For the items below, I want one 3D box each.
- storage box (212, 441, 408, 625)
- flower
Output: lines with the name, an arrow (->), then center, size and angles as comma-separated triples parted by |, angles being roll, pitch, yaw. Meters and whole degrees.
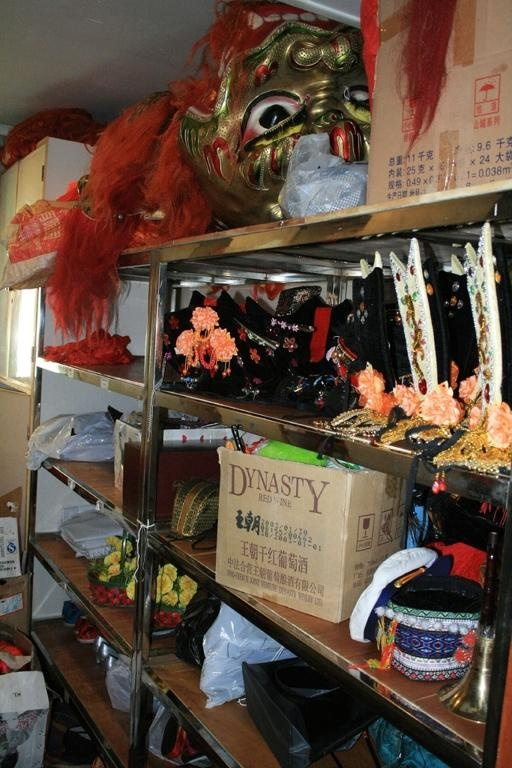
storage box -> 0.129, 0.235, 1.118 | 0.305, 0.311, 0.250 | -4, 6, 43
flower -> -0.412, 0.681, 1.943 | 0.418, 0.141, 0.310 | 10, -15, 7
